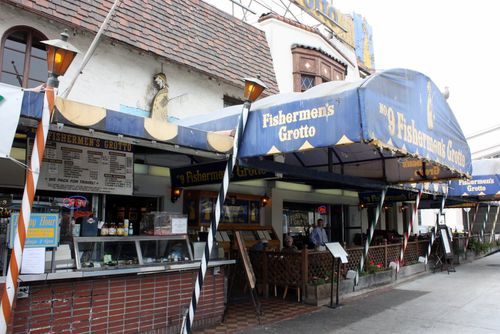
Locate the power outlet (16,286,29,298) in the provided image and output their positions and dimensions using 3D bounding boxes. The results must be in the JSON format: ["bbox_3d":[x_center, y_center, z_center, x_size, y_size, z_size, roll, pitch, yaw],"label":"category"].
[{"bbox_3d":[-4.204,2.309,7.838,0.219,0.201,0.144,10,-7,-37],"label":"power outlet"}]

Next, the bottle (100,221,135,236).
[{"bbox_3d":[-2.906,1.304,9.182,0.705,0.339,0.455,2,-3,-22],"label":"bottle"}]

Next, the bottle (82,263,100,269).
[{"bbox_3d":[-3.171,1.965,8.512,0.341,0.104,0.189,2,-3,-26],"label":"bottle"}]

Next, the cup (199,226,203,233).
[{"bbox_3d":[-1.538,1.983,13.681,0.125,0.240,0.129,1,-3,0],"label":"cup"}]

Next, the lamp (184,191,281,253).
[{"bbox_3d":[-0.495,2.256,14.845,1.135,2.710,4.026,-9,-11,33],"label":"lamp"}]
